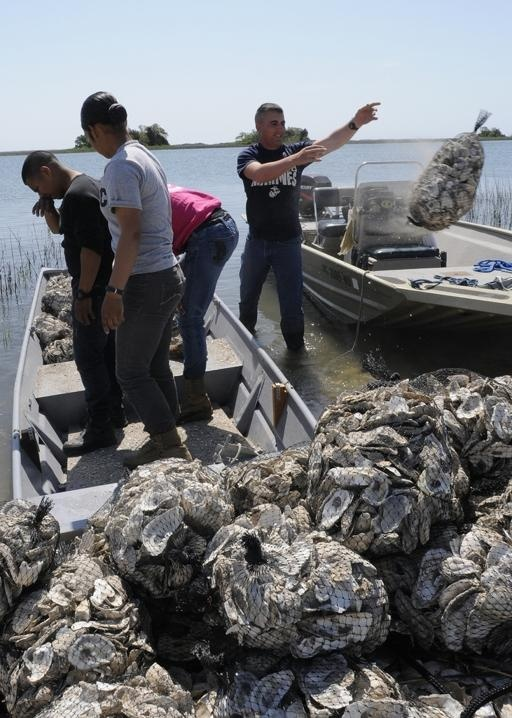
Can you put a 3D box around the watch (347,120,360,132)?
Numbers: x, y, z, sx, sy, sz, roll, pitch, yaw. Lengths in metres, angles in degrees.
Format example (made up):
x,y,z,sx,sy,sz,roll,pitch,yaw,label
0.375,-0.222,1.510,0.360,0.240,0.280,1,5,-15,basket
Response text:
x,y,z,sx,sy,sz,roll,pitch,yaw,label
0.676,-1.596,4.038,0.052,0.074,0.116,-3,15,-8,watch

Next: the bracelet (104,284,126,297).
x,y,z,sx,sy,sz,roll,pitch,yaw,label
-0.602,-0.282,2.459,0.045,0.018,0.049,22,-10,1,bracelet

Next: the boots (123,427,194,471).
x,y,z,sx,sy,sz,roll,pitch,yaw,label
-0.466,0.431,2.784,0.338,0.221,0.133,10,27,14,boots

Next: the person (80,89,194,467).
x,y,z,sx,sy,sz,roll,pitch,yaw,label
-0.516,-0.197,2.762,0.346,1.561,0.566,-2,16,-6,person

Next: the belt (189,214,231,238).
x,y,z,sx,sy,sz,roll,pitch,yaw,label
-0.266,-0.781,3.403,0.189,0.099,0.134,-26,13,10,belt

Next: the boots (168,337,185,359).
x,y,z,sx,sy,sz,roll,pitch,yaw,label
-0.624,-0.079,4.519,0.131,0.148,0.101,-6,-14,7,boots

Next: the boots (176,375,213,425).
x,y,z,sx,sy,sz,roll,pitch,yaw,label
-0.447,0.270,3.726,0.306,0.265,0.135,-8,7,-9,boots

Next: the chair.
x,y,z,sx,sy,sz,roll,pitch,yaw,label
1.417,-1.712,7.357,1.068,0.943,1.847,-3,21,-8,chair
